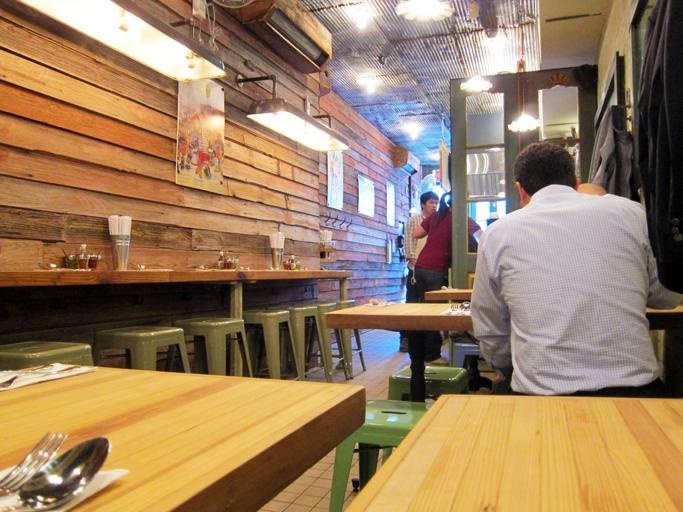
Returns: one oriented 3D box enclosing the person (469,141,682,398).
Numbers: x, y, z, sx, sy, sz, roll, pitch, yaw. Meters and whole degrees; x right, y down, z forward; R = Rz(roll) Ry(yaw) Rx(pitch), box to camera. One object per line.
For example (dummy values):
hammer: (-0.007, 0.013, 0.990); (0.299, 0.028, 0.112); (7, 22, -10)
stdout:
person: (0.859, 0.088, 1.741); (0.697, 0.744, 0.464); (-5, -3, 8)

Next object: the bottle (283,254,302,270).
bottle: (-0.469, 0.067, 5.232); (0.167, 0.169, 0.198); (1, -17, -1)

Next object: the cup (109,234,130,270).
cup: (-1.478, -0.026, 3.306); (0.114, 0.229, 0.238); (-4, -3, -24)

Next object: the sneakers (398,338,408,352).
sneakers: (0.988, 1.204, 6.820); (0.128, 0.118, 0.318); (-1, -13, 12)

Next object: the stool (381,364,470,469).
stool: (0.569, 0.810, 2.675); (0.469, 0.373, 0.460); (-2, 0, 33)

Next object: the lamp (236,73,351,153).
lamp: (-0.382, -1.434, 5.139); (0.630, 0.370, 1.377); (1, -2, 25)
